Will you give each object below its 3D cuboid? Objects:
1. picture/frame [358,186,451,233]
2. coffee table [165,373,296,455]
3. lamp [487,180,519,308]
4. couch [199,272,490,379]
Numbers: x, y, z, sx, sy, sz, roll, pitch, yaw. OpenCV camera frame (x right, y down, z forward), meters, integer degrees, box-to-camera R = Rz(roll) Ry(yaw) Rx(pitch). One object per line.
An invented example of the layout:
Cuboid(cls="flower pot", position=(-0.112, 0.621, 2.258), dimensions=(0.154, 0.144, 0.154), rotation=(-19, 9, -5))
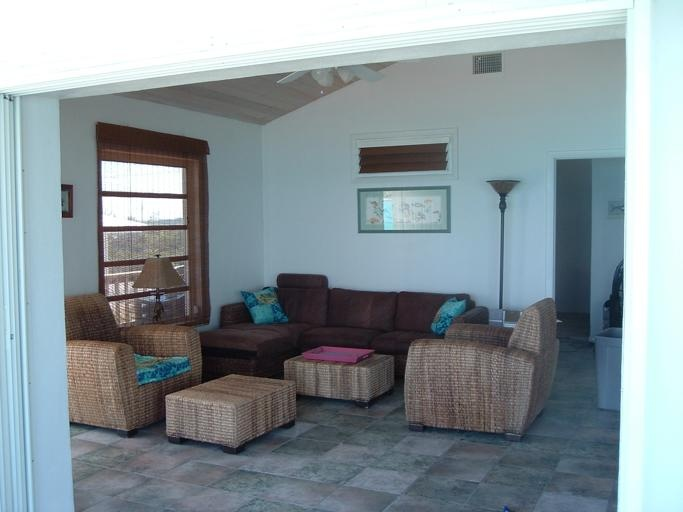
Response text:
Cuboid(cls="picture/frame", position=(0.813, -0.599, 7.149), dimensions=(1.509, 0.566, 0.041), rotation=(-4, 7, -30))
Cuboid(cls="coffee table", position=(-0.910, 1.278, 4.519), dimensions=(0.693, 0.388, 0.751), rotation=(1, 5, 30))
Cuboid(cls="lamp", position=(1.986, -0.144, 6.627), dimensions=(0.362, 1.584, 0.401), rotation=(-1, 6, 16))
Cuboid(cls="couch", position=(-0.174, 0.831, 6.439), dimensions=(2.350, 0.671, 1.332), rotation=(0, -2, 18))
